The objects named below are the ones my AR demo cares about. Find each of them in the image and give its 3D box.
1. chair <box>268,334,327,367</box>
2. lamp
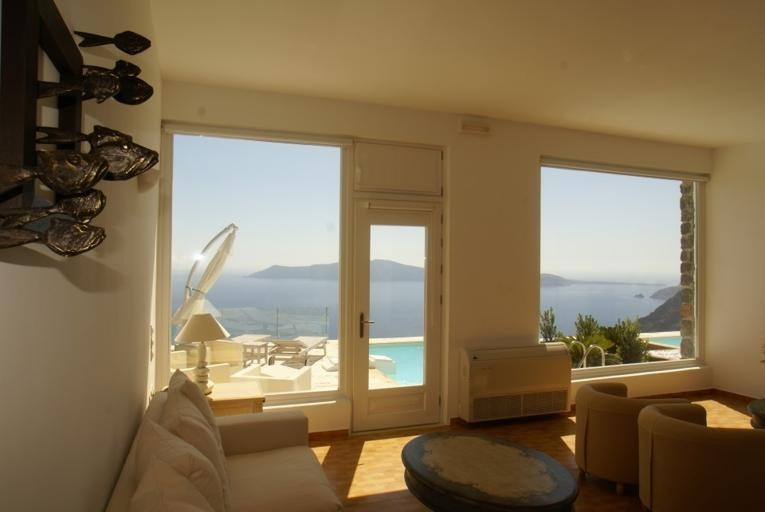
[{"bbox_3d":[-0.806,0.941,5.241,0.266,0.194,0.465,1,3,17],"label":"chair"},{"bbox_3d":[-1.533,0.859,4.517,0.470,0.663,0.429,-1,-15,-18],"label":"lamp"}]
